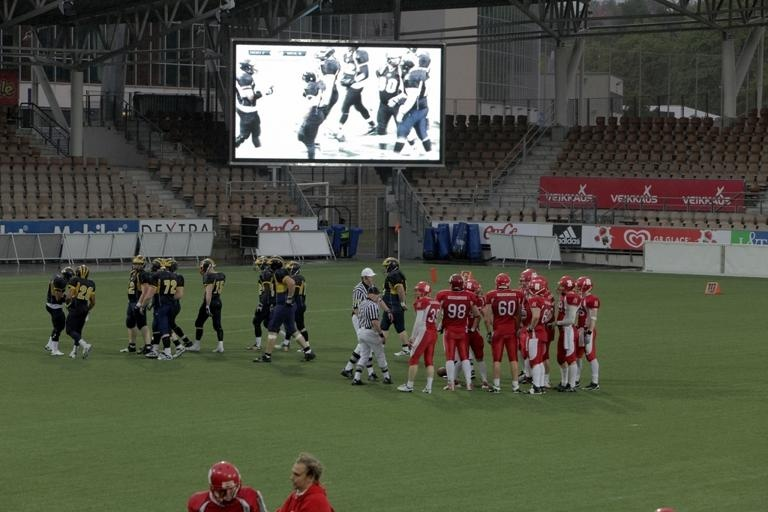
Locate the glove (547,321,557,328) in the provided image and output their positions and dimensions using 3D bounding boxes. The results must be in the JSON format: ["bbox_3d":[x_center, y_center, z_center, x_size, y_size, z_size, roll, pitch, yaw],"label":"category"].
[{"bbox_3d":[4.439,1.818,29.571,0.219,0.225,0.253,2,13,8],"label":"glove"}]

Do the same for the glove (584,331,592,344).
[{"bbox_3d":[5.449,2.130,29.674,0.275,0.269,0.231,0,-6,13],"label":"glove"}]

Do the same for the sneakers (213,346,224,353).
[{"bbox_3d":[-4.980,2.744,33.035,0.331,0.229,0.121,11,11,34],"label":"sneakers"}]

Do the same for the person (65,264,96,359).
[{"bbox_3d":[-8.891,1.606,32.249,0.841,2.630,1.168,-4,13,-17],"label":"person"}]

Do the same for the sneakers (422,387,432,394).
[{"bbox_3d":[1.117,3.542,29.600,0.160,0.172,0.404,1,4,-4],"label":"sneakers"}]

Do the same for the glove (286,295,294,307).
[{"bbox_3d":[-2.712,1.260,31.603,0.296,0.290,0.132,-1,13,-6],"label":"glove"}]

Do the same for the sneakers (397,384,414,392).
[{"bbox_3d":[0.534,3.471,29.669,0.473,0.218,0.178,3,18,12],"label":"sneakers"}]

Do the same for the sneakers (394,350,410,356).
[{"bbox_3d":[0.499,2.850,32.856,0.477,0.207,0.164,3,0,22],"label":"sneakers"}]
